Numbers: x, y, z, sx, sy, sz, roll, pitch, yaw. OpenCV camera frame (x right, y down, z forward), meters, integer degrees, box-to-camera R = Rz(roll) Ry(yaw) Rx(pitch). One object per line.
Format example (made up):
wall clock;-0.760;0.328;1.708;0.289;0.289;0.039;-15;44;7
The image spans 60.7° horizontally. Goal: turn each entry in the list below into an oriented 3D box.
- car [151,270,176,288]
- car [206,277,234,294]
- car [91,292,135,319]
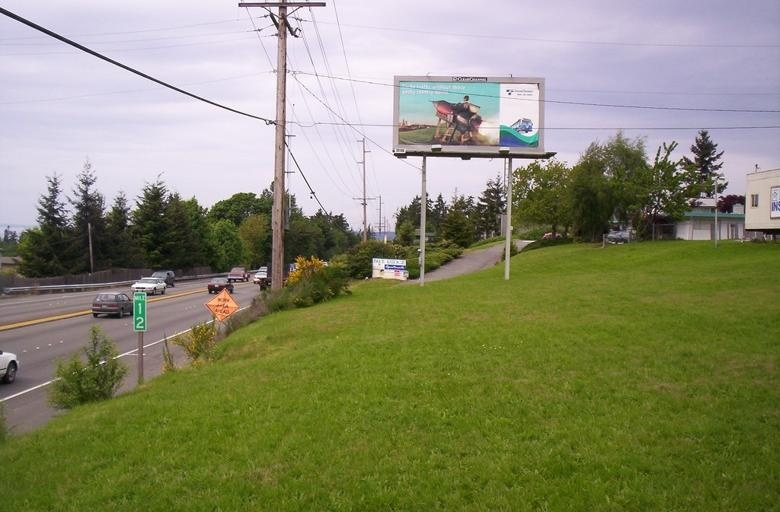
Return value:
car;-21.828;2.052;64.125;1.797;1.660;3.362;-1;-6;-1
car;-14.038;2.464;55.251;1.385;0.929;2.739;0;4;-7
car;-16.349;2.972;39.118;1.532;1.634;2.282;-7;6;2
